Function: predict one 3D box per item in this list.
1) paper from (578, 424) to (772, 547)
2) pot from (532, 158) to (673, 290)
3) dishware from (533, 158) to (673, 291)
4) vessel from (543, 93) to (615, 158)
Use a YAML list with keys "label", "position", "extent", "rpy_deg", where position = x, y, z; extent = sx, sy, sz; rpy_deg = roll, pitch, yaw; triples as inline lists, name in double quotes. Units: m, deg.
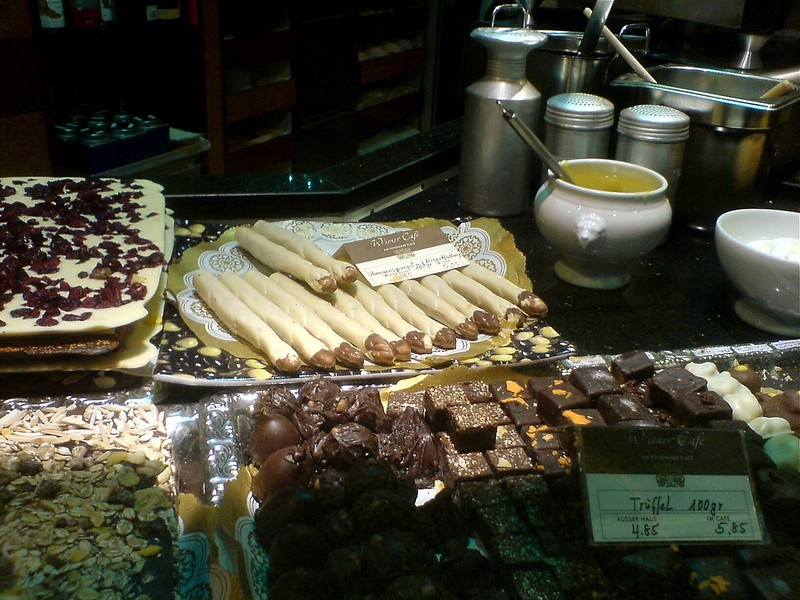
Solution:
- label: "paper"
  position: [0.378, 0.269, 0.899]
  extent: [0.321, 0.056, 0.162]
  rpy_deg: [7, 68, -21]
- label: "pot"
  position: [0.560, -0.193, 1.724]
  extent: [0.400, 0.265, 0.362]
  rpy_deg: [-14, 29, -26]
- label: "dishware"
  position: [0.516, -0.222, 1.709]
  extent: [0.435, 0.286, 0.396]
  rpy_deg: [13, 26, 23]
- label: "vessel"
  position: [0.552, -0.524, 1.905]
  extent: [0.234, 0.172, 0.184]
  rpy_deg: [-1, 29, -1]
